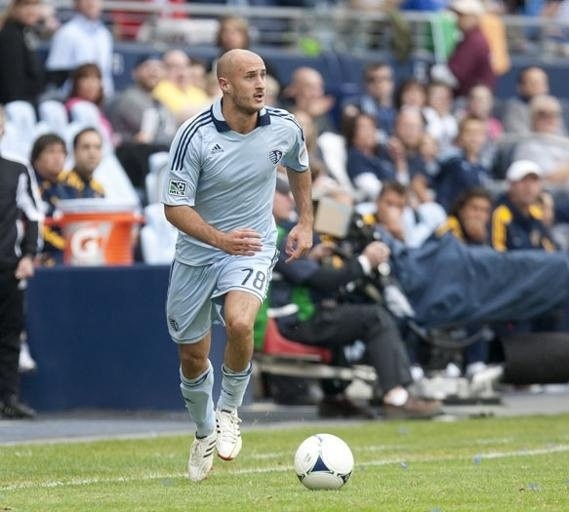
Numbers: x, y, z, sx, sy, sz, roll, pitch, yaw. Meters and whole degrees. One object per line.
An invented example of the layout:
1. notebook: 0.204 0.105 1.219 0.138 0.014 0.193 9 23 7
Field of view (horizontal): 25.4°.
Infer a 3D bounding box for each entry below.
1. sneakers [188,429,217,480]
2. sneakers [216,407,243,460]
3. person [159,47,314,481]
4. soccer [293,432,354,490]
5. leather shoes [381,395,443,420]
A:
1. sneakers: -0.521 1.280 8.090 0.209 0.307 0.220 -2 4 -24
2. sneakers: -0.356 1.135 8.196 0.127 0.144 0.355 -4 44 -10
3. person: -0.297 0.049 8.086 0.983 2.767 0.676 -1 4 -15
4. soccer: 0.234 1.253 7.648 0.338 0.318 0.170 1 4 13
5. leather shoes: 1.047 1.232 10.269 0.481 0.217 0.216 0 4 5
